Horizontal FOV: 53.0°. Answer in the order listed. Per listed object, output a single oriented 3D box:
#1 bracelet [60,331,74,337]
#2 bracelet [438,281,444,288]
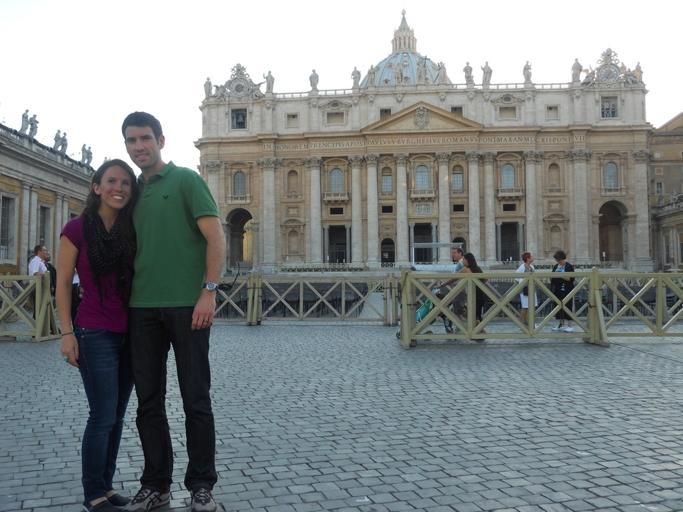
[{"bbox_3d":[-2.497,0.703,6.245,0.108,0.039,0.078,0,-2,-26],"label":"bracelet"},{"bbox_3d":[2.086,0.589,14.267,0.036,0.104,0.106,30,-23,-19],"label":"bracelet"}]
